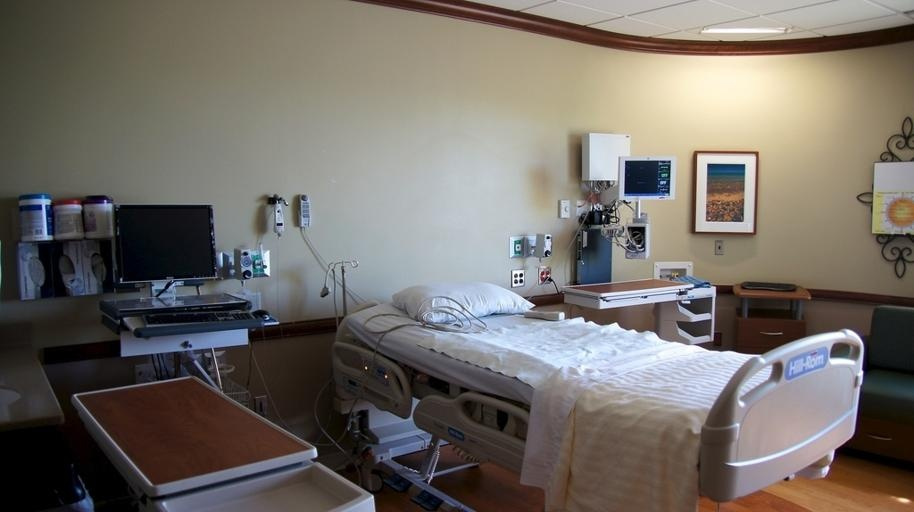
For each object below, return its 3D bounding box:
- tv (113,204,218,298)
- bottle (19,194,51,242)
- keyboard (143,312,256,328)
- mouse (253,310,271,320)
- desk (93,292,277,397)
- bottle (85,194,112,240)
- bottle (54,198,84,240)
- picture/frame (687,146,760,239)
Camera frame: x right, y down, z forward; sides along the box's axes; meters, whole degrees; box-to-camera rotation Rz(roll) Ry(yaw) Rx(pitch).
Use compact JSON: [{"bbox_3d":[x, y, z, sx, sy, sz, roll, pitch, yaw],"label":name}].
[{"bbox_3d":[-2.092,-0.051,4.242,0.743,0.565,0.076,-2,1,-22],"label":"tv"},{"bbox_3d":[-2.859,-0.260,4.062,0.209,0.307,0.112,-6,10,-22],"label":"bottle"},{"bbox_3d":[-1.711,0.411,3.997,0.680,0.090,0.155,-5,9,-20],"label":"keyboard"},{"bbox_3d":[-1.363,0.411,4.163,0.067,0.032,0.088,0,1,-38],"label":"mouse"},{"bbox_3d":[-1.815,0.452,3.991,0.803,0.593,0.900,-3,9,-32],"label":"desk"},{"bbox_3d":[-2.494,-0.268,4.164,0.185,0.286,0.072,-7,10,-27],"label":"bottle"},{"bbox_3d":[-2.668,-0.249,4.111,0.184,0.266,0.076,-6,10,-26],"label":"bottle"},{"bbox_3d":[2.713,-0.648,6.106,0.634,0.841,0.197,0,9,11],"label":"picture/frame"}]
